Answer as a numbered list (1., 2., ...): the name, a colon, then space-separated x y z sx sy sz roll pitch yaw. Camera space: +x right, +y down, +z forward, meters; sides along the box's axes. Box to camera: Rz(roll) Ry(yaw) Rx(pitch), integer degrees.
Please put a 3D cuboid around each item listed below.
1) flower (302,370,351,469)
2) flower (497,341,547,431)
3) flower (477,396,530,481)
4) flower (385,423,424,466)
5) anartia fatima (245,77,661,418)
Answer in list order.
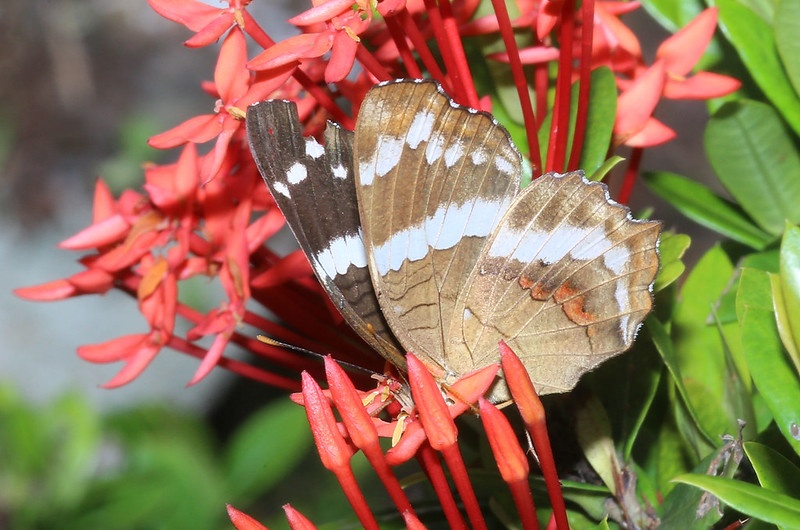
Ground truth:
1. flower: -0.069 0.146 0.754 0.030 0.103 0.027 -20 15 1
2. flower: 0.109 0.113 0.751 0.029 0.023 0.093 -29 96 -33
3. flower: 0.093 0.161 0.748 0.026 0.100 0.023 -15 20 21
4. flower: 0.004 0.165 0.766 0.024 0.016 0.044 26 81 18
5. anartia fatima: 0.049 -0.002 0.890 0.349 0.383 0.376 -2 87 -19
